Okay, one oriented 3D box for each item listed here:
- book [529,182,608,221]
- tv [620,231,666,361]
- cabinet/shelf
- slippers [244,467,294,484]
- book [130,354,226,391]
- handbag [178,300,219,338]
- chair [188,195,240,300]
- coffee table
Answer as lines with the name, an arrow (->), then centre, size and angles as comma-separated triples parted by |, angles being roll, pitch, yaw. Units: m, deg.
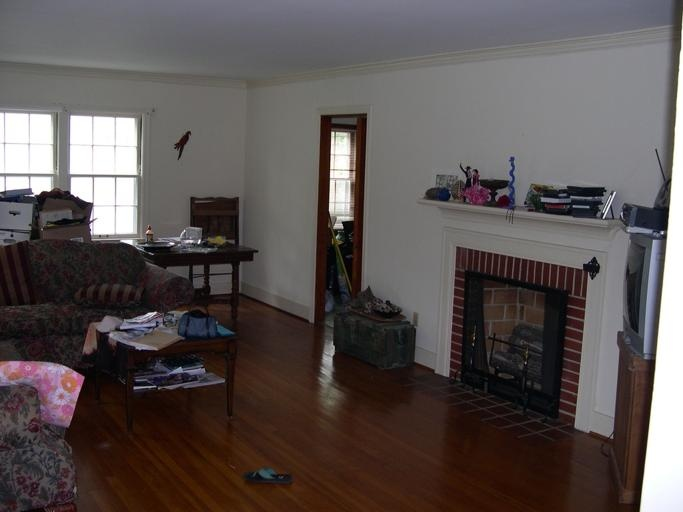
book -> 1.771, -0.451, 4.226 | 0.291, 0.239, 0.674 | -2, 10, -27
tv -> 1.801, 0.219, 3.206 | 0.174, 0.755, 0.502 | 4, 8, 10
cabinet/shelf -> 1.829, 1.033, 3.382 | 0.191, 0.959, 0.497 | 6, 9, 28
slippers -> -0.457, 1.385, 3.345 | 0.166, 0.037, 0.120 | 4, 8, -4
book -> -1.281, 0.911, 4.091 | 0.359, 0.092, 0.351 | 2, 1, 44
handbag -> -1.074, 0.403, 3.978 | 0.351, 0.327, 0.180 | 5, 12, -12
chair -> -1.812, -0.133, 7.608 | 0.931, 1.448, 0.951 | 0, 0, 38
coffee table -> -1.360, 0.880, 4.100 | 1.026, 0.728, 0.708 | -1, 9, -22
